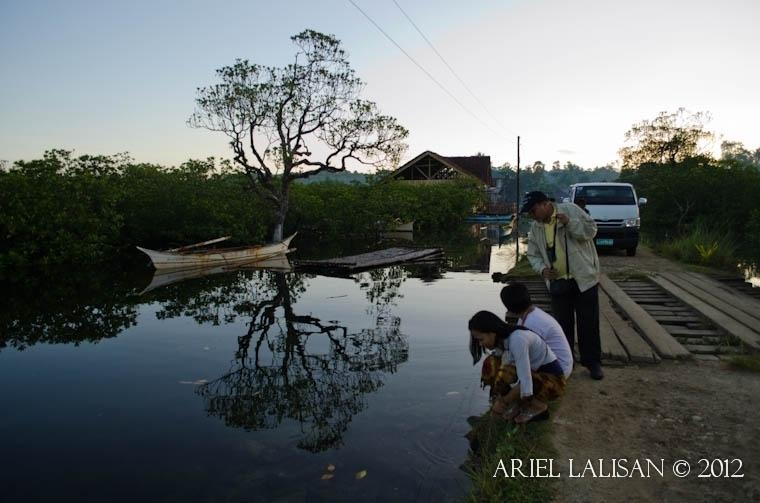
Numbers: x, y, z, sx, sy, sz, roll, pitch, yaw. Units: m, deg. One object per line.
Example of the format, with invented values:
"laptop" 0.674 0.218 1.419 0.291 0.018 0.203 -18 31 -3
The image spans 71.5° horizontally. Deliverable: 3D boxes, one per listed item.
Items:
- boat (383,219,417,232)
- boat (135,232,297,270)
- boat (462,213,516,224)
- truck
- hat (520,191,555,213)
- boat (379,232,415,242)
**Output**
"boat" 1.726 -2.320 49.659 1.275 1.292 4.201 2 8 27
"boat" -9.068 0.011 28.185 7.201 1.501 1.400 -5 7 -37
"boat" 11.904 -3.591 58.355 6.457 1.211 1.556 -1 12 -4
"truck" 8.385 -1.366 18.857 2.488 2.261 4.287 -1 -2 18
"hat" 2.731 -0.854 9.239 0.519 0.380 0.583 0 7 17
"boat" 1.515 -1.248 45.093 2.275 0.243 9.463 -2 7 -1
